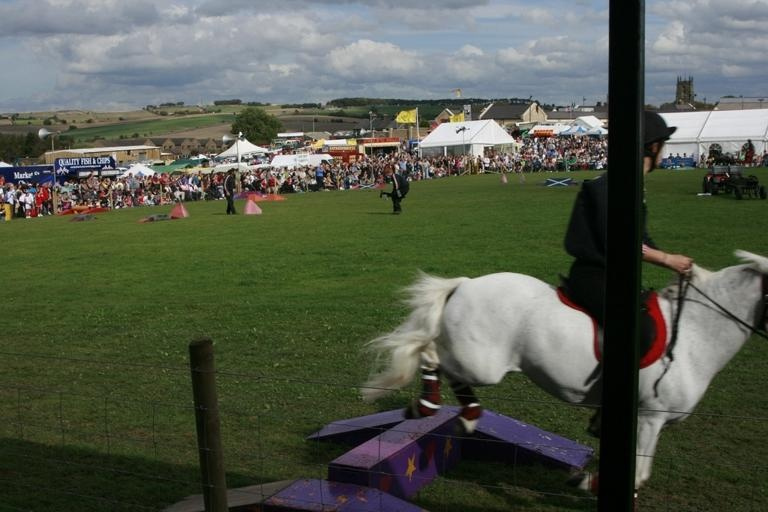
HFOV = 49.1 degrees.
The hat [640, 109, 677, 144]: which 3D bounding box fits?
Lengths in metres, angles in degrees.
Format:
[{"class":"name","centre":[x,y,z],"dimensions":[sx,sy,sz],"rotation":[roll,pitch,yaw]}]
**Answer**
[{"class":"hat","centre":[2.605,-1.220,7.933],"dimensions":[0.253,0.313,0.392],"rotation":[3,13,21]}]

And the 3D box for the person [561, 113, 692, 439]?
[{"class":"person","centre":[2.295,0.230,7.918],"dimensions":[1.153,3.126,1.146],"rotation":[-3,12,-4]}]
